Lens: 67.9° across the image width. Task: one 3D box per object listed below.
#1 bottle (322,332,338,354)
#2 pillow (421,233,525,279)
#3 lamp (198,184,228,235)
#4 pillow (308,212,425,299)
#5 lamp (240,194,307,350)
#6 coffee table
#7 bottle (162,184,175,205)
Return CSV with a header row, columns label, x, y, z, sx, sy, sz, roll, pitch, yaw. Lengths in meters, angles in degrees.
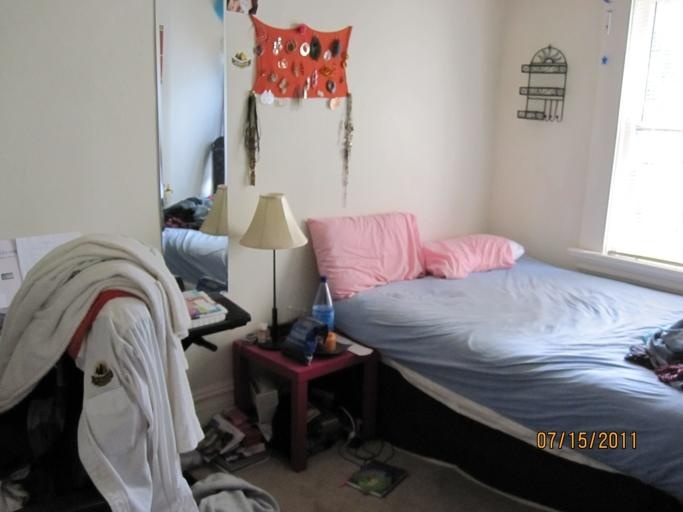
label,x,y,z,sx,sy,sz,roll,pitch,yaw
bottle,-0.069,0.451,2.641,0.068,0.138,0.073,1,12,0
pillow,0.861,-0.015,3.389,0.442,0.162,0.353,-13,14,-33
lamp,-0.664,-0.241,2.690,0.201,0.240,0.134,10,14,-34
pillow,0.169,-0.046,3.082,0.652,0.528,0.157,-8,-13,-39
lamp,-0.384,0.055,2.765,0.345,0.801,0.337,-6,16,-20
coffee table,-0.172,0.578,2.834,0.655,0.701,0.632,-14,23,-40
bottle,-0.854,-0.299,2.473,0.048,0.109,0.011,-6,16,-20
